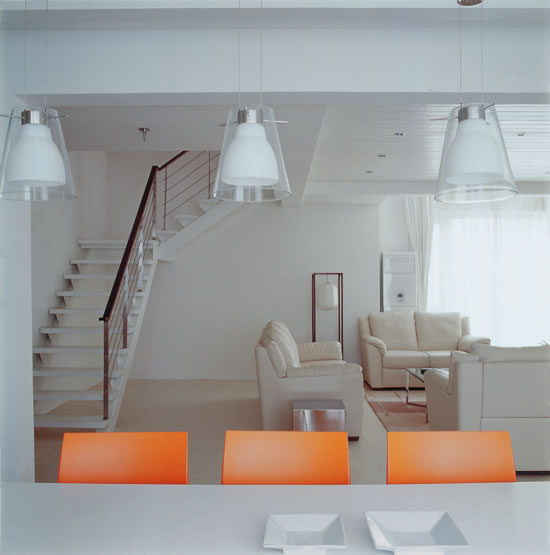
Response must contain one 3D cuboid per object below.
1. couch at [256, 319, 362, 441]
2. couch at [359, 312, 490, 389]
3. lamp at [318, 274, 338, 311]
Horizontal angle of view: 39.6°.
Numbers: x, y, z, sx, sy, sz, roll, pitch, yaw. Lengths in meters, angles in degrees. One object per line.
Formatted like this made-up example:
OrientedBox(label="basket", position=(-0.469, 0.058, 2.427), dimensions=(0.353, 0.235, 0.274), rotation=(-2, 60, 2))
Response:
OrientedBox(label="couch", position=(0.278, 0.817, 6.548), dimensions=(0.819, 0.909, 1.271), rotation=(-3, 3, 3))
OrientedBox(label="couch", position=(1.586, 0.806, 8.285), dimensions=(1.250, 0.939, 0.763), rotation=(0, -8, 0))
OrientedBox(label="lamp", position=(0.539, 0.211, 8.428), dimensions=(0.168, 0.272, 0.165), rotation=(2, 13, 37))
